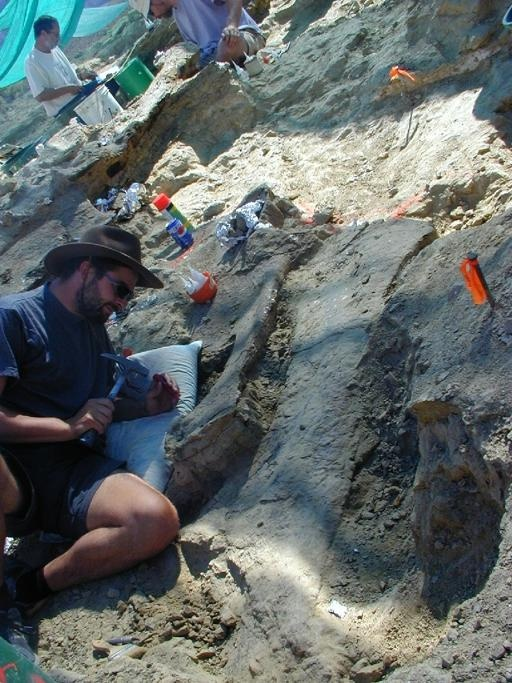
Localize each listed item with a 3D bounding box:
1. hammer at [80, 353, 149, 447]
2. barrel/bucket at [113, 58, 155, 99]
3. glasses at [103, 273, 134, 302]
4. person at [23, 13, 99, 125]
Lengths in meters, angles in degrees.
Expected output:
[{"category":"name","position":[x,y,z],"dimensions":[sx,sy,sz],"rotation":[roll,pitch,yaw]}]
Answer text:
[{"category":"hammer","position":[-0.622,0.260,2.988],"dimensions":[0.291,0.133,0.394],"rotation":[17,48,0]},{"category":"barrel/bucket","position":[-1.319,-2.834,7.343],"dimensions":[0.479,0.447,0.380],"rotation":[-13,30,-10]},{"category":"glasses","position":[-0.604,-0.244,2.961],"dimensions":[0.103,0.030,0.099],"rotation":[40,6,15]},{"category":"person","position":[-2.261,-3.021,7.735],"dimensions":[0.567,1.350,0.584],"rotation":[20,36,35]}]
